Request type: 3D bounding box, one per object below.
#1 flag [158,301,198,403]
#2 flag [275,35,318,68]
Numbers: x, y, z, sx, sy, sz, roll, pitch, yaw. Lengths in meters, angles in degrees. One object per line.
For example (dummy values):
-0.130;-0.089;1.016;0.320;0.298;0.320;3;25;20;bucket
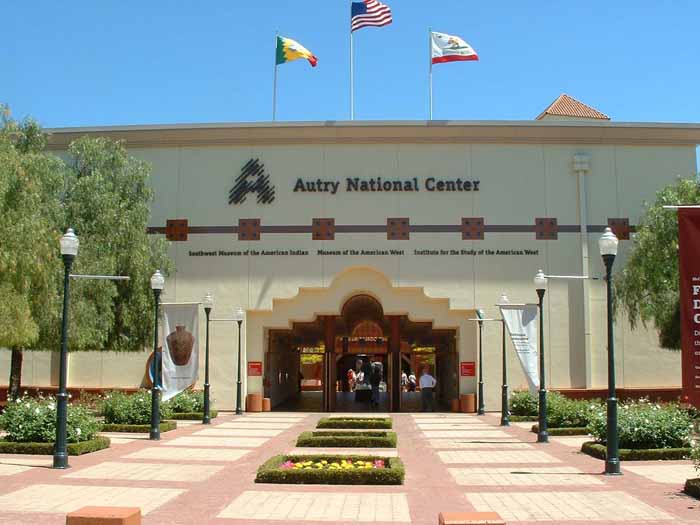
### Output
-6.657;3.445;34.453;1.405;3.601;1.024;0;1;-10;flag
-3.068;-11.609;48.052;1.821;1.752;2.464;0;1;-6;flag
